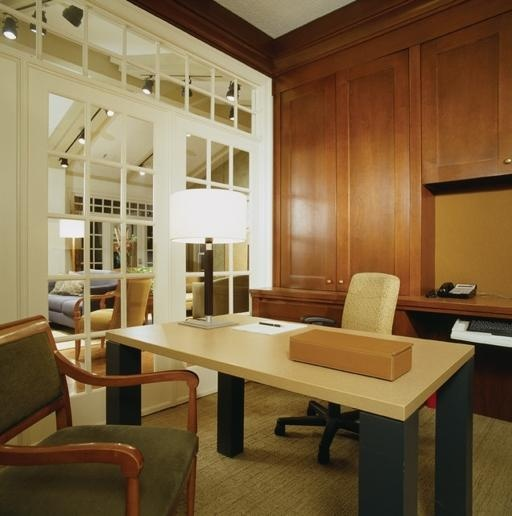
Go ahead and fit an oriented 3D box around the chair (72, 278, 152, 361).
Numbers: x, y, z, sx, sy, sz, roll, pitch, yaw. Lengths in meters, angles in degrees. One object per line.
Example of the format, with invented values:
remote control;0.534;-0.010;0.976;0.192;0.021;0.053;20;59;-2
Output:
chair;-0.863;0.337;2.791;0.354;0.590;0.407;-7;-13;38

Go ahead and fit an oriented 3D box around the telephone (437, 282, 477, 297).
telephone;1.251;0.199;2.869;0.212;0.073;0.300;1;5;29

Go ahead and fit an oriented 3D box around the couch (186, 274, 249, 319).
couch;-0.294;0.206;3.570;0.480;0.472;0.253;2;-1;-41

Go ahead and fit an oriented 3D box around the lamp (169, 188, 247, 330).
lamp;-0.233;-0.022;2.400;0.369;0.698;0.655;-1;5;-2
